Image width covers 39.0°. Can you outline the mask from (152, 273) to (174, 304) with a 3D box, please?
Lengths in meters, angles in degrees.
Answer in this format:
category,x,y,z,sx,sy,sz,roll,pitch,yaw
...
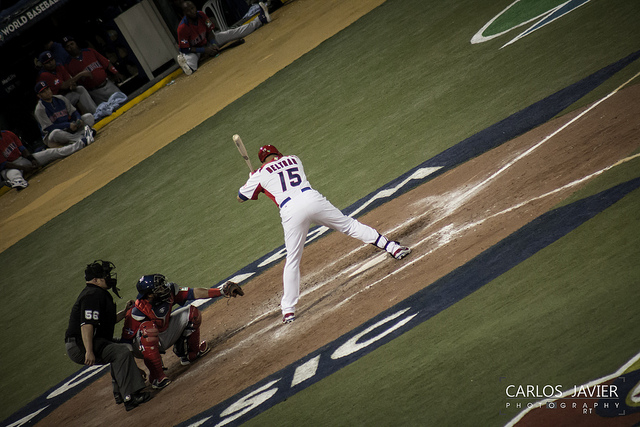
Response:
category,x,y,z,sx,sy,sz,roll,pitch,yaw
mask,-2.491,1.192,14.401,0.517,0.385,0.363,-9,31,-4

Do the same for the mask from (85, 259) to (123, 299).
category,x,y,z,sx,sy,sz,roll,pitch,yaw
mask,-3.487,0.983,14.571,0.418,0.400,0.389,-18,-9,-4

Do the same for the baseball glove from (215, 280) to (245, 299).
category,x,y,z,sx,sy,sz,roll,pitch,yaw
baseball glove,-1.443,1.180,14.699,0.202,0.434,0.268,-28,-38,-53

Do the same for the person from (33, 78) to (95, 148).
category,x,y,z,sx,sy,sz,roll,pitch,yaw
person,-5.737,-2.278,20.483,1.014,1.439,1.096,2,53,28

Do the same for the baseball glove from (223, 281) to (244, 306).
category,x,y,z,sx,sy,sz,roll,pitch,yaw
baseball glove,-1.373,1.256,14.649,0.245,0.262,0.263,13,3,15

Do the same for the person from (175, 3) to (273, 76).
category,x,y,z,sx,sy,sz,roll,pitch,yaw
person,-2.332,-4.120,21.842,2.152,0.944,1.241,-31,42,-28
